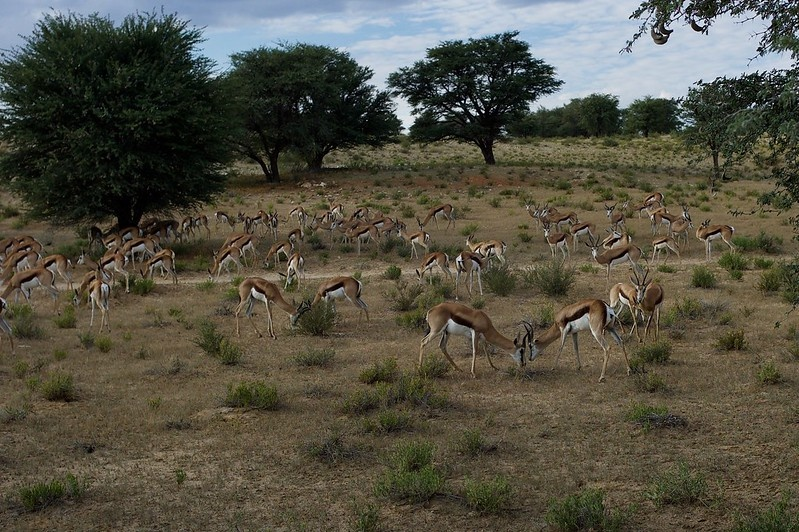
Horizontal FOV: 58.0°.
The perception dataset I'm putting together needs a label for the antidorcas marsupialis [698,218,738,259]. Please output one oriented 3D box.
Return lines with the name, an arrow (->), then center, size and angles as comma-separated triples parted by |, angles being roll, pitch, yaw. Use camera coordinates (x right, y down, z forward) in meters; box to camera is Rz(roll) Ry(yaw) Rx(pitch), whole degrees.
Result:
antidorcas marsupialis -> 12.647, -1.173, 28.842 | 0.624, 1.522, 1.719 | 1, -1, -39
